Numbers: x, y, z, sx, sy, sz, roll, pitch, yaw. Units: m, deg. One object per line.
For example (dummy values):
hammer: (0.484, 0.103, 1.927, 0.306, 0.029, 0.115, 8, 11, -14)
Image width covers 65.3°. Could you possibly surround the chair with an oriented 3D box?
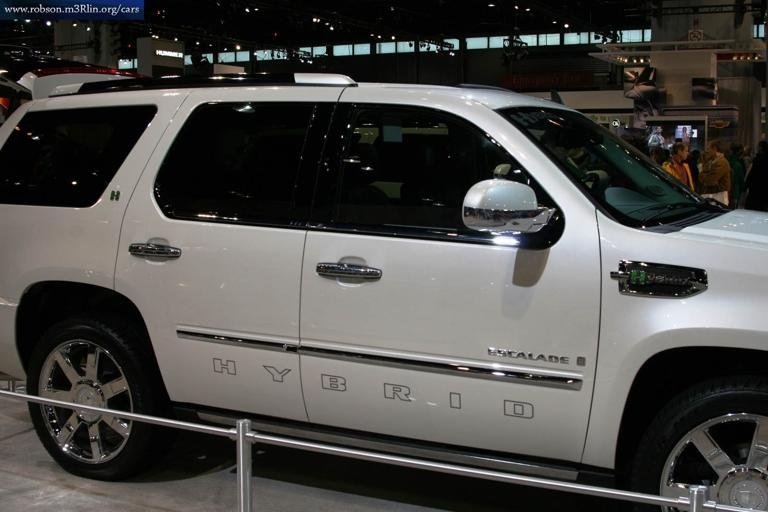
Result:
chair: (0.080, -0.321, 3.268, 0.551, 0.330, 0.210, -1, -9, 14)
